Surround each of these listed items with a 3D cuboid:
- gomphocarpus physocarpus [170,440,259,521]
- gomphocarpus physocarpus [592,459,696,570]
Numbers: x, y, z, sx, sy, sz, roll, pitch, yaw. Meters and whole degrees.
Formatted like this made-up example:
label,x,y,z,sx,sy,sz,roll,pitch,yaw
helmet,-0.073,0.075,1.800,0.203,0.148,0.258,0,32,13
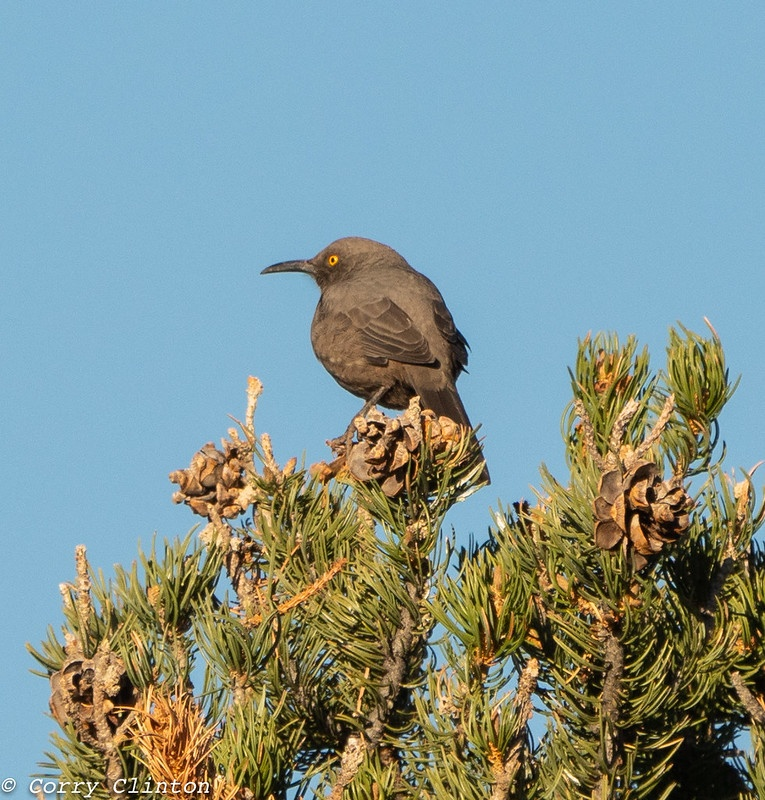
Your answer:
label,x,y,z,sx,sy,sz,roll,pitch,yaw
gomphocarpus physocarpus,-0.452,0.217,5.462,0.150,0.222,0.221,13,-59,-43
gomphocarpus physocarpus,0.663,0.284,5.104,0.241,0.185,0.233,13,-40,-12
